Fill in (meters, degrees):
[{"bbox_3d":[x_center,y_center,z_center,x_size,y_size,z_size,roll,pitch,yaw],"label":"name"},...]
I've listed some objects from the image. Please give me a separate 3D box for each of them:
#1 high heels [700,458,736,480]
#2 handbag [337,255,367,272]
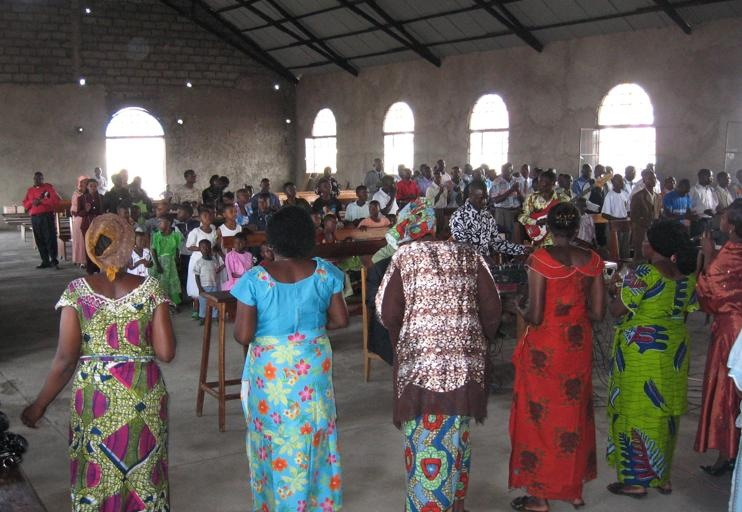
[{"bbox_3d":[2.689,1.676,5.710,0.298,0.140,0.096,4,-2,10],"label":"high heels"},{"bbox_3d":[-0.306,0.105,9.956,0.222,0.126,0.351,-8,3,23],"label":"handbag"}]
